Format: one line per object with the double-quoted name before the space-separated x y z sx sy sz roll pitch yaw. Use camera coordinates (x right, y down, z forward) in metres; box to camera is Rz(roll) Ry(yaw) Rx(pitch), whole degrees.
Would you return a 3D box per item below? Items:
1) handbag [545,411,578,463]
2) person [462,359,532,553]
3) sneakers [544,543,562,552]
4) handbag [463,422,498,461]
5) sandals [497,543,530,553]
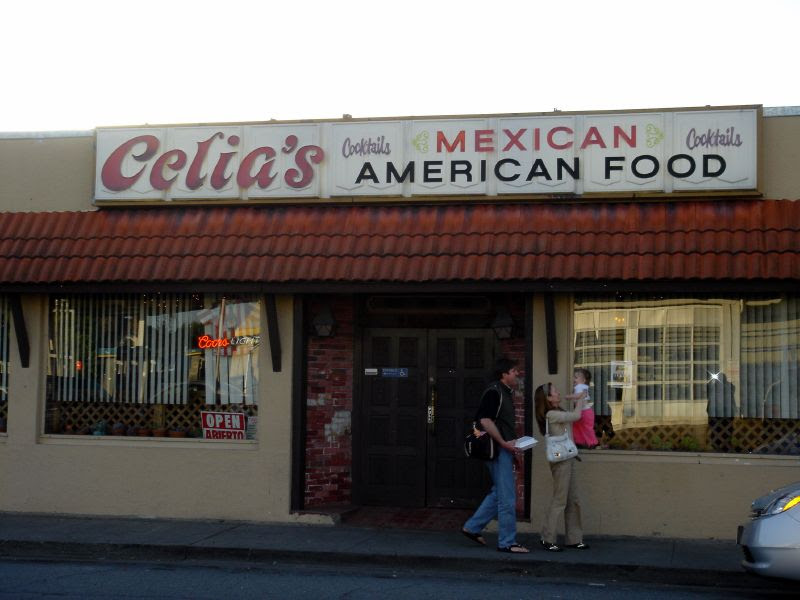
"handbag" 2.100 1.763 15.332 0.464 0.671 0.336 -7 7 -39
"person" 1.257 1.992 15.134 0.740 2.473 0.558 -3 -7 17
"sneakers" 1.987 3.181 15.161 0.244 0.111 0.093 -4 1 26
"handbag" 1.018 1.807 15.159 0.439 0.490 0.265 -6 -4 38
"sandals" 1.466 3.144 15.035 0.404 0.174 0.140 -3 0 6
